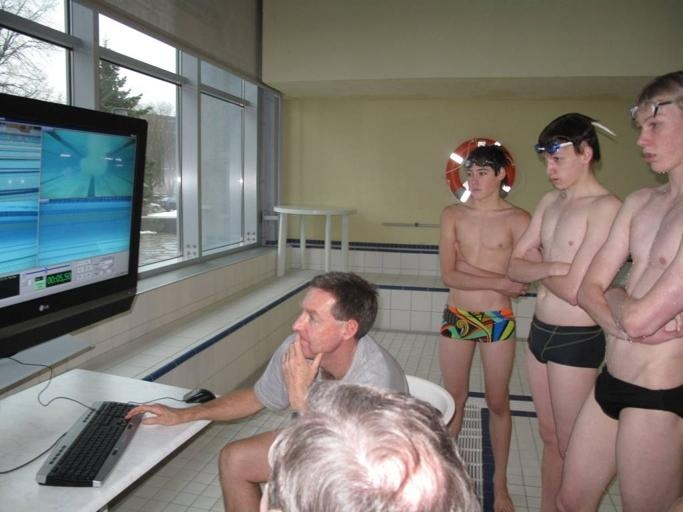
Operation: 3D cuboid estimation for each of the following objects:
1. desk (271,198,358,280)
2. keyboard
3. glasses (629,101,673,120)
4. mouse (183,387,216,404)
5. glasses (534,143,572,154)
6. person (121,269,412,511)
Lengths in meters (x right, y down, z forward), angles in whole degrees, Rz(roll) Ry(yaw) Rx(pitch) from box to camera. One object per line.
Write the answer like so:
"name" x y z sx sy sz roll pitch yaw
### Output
"desk" -0.329 -0.194 5.397 0.871 0.791 1.229 0 11 -9
"keyboard" -0.782 0.584 1.506 0.206 0.045 0.443 9 8 -8
"glasses" 0.973 -0.460 1.488 0.066 0.029 0.066 -3 2 -11
"mouse" -0.539 0.524 1.789 0.092 0.028 0.049 5 6 -16
"glasses" 0.930 -0.475 2.066 0.085 0.026 0.064 -9 4 -31
"person" -0.299 0.373 2.215 0.985 1.341 0.922 6 12 -12
